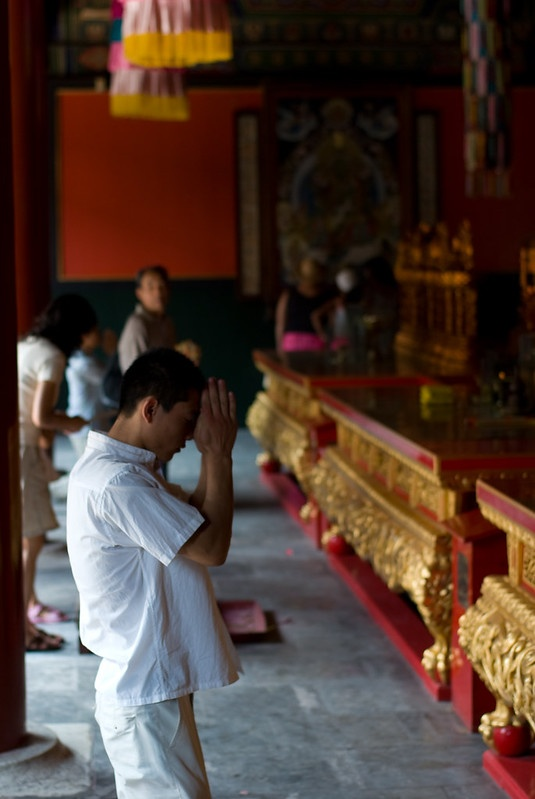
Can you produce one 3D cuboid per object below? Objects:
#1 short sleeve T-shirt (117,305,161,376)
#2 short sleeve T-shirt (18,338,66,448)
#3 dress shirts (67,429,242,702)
[{"bbox_3d":[-0.510,-0.270,3.279,0.122,0.211,0.229,13,43,8],"label":"short sleeve T-shirt"},{"bbox_3d":[-0.811,-0.025,2.997,0.176,0.403,0.234,-5,5,-16],"label":"short sleeve T-shirt"},{"bbox_3d":[-0.192,0.246,1.266,0.265,0.392,0.228,-2,5,18],"label":"dress shirts"}]
